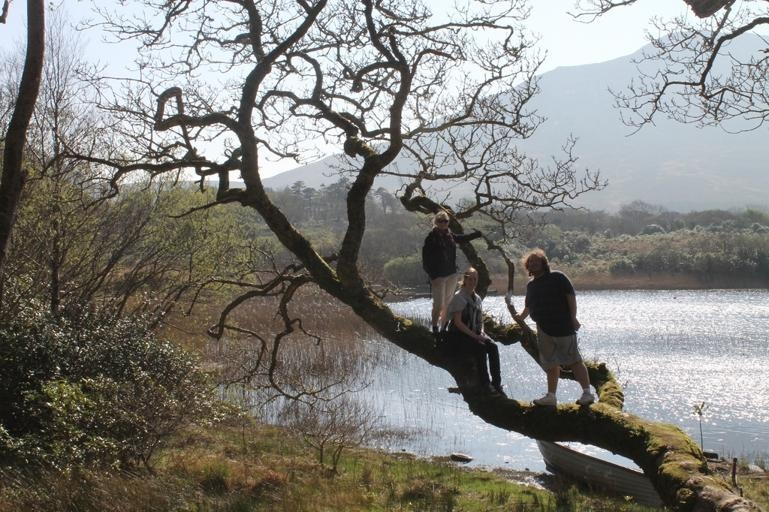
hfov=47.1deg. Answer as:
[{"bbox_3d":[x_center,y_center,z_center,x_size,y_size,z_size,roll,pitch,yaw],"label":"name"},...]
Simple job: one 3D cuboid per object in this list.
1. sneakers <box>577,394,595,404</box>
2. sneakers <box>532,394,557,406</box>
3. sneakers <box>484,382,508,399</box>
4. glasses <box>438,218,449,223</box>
[{"bbox_3d":[4.737,3.359,20.665,0.518,0.249,0.170,12,-17,-25],"label":"sneakers"},{"bbox_3d":[3.783,3.376,20.687,0.599,0.302,0.234,2,-9,-2],"label":"sneakers"},{"bbox_3d":[2.610,3.173,20.745,0.616,0.295,0.252,-7,-9,42],"label":"sneakers"},{"bbox_3d":[1.510,-0.869,21.894,0.281,0.084,0.106,-5,8,-37],"label":"glasses"}]
